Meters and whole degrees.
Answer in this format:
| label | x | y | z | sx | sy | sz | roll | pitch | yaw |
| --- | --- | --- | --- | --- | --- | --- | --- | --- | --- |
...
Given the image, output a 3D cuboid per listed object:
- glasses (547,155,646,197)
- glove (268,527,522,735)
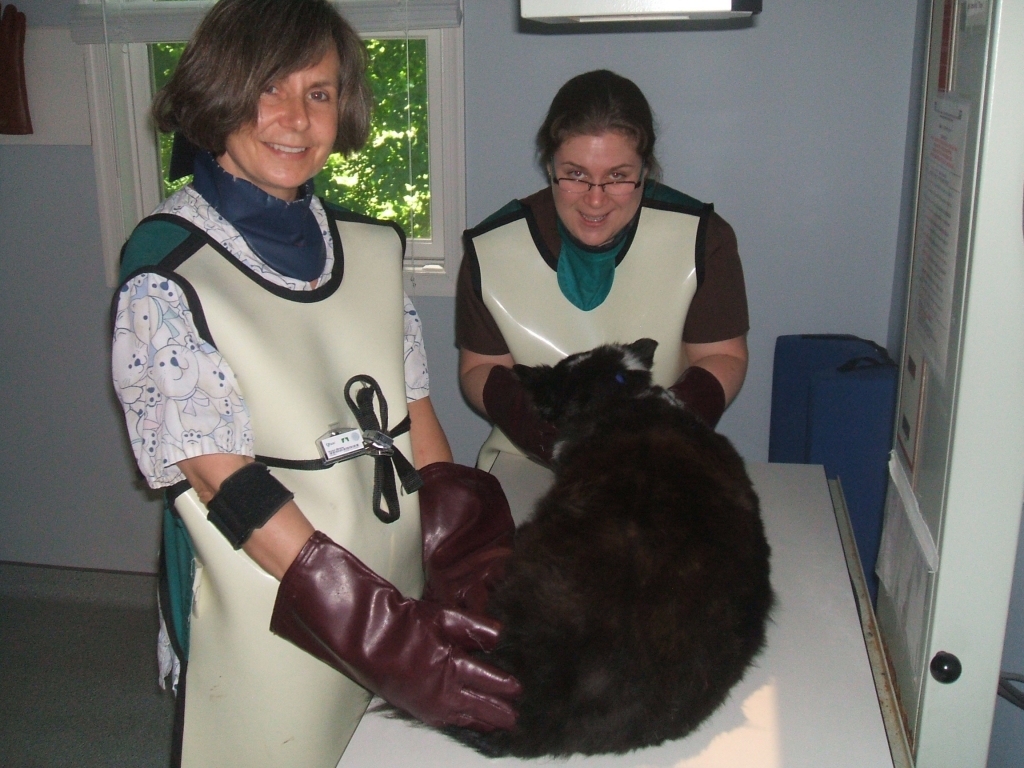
| label | x | y | z | sx | sy | sz | roll | pitch | yaw |
| --- | --- | --- | --- | --- | --- | --- | --- | --- | --- |
| glasses | 0.237 | -0.564 | 2.508 | 0.242 | 0.086 | 0.097 | -1 | 12 | 4 |
| glove | -0.228 | 0.555 | 1.848 | 0.495 | 0.210 | 0.285 | 34 | 65 | 11 |
